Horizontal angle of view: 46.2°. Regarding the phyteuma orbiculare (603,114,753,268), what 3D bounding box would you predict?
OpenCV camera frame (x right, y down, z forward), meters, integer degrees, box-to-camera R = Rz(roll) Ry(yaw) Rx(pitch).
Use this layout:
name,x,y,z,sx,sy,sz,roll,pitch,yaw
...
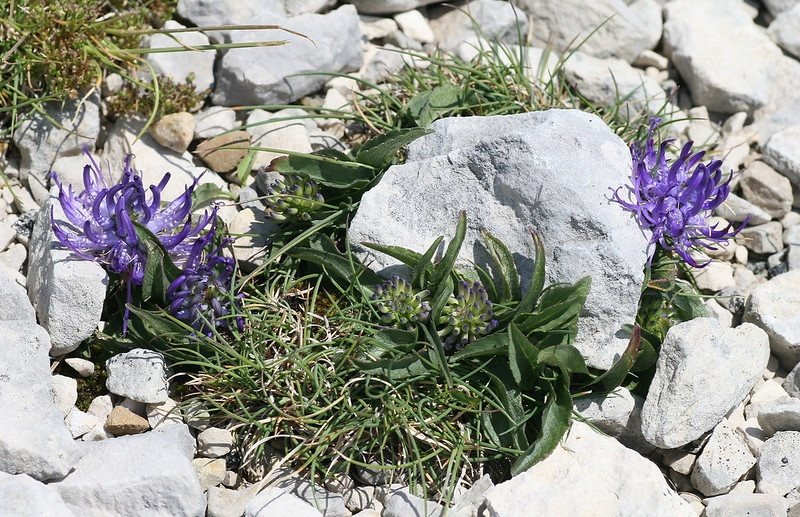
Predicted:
name,x,y,z,sx,sy,sz,roll,pitch,yaw
phyteuma orbiculare,1.768,-0.458,6.134,0.765,0.710,0.407,10,83,-14

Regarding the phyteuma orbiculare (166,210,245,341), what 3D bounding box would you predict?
name,x,y,z,sx,sy,sz,roll,pitch,yaw
phyteuma orbiculare,-1.232,0.142,5.954,0.474,0.296,0.827,15,75,-32
